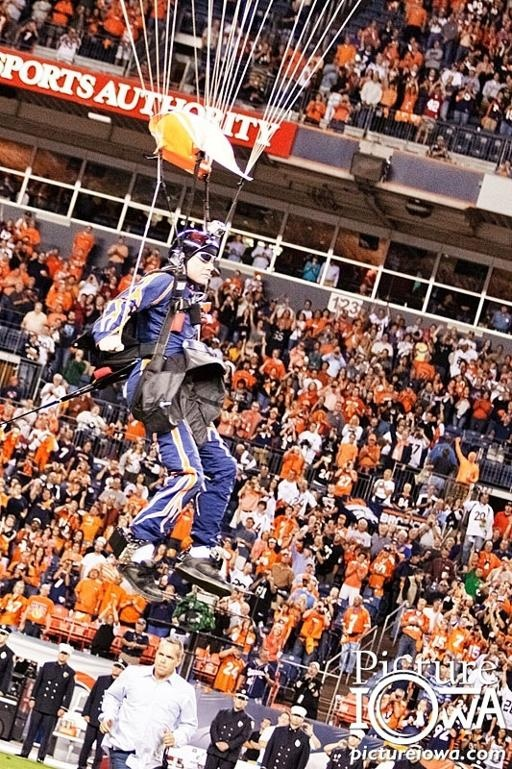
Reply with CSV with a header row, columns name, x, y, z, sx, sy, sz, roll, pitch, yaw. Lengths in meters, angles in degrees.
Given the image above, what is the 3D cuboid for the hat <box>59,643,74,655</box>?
name,x,y,z,sx,sy,sz,roll,pitch,yaw
hat,-2.017,2.779,11.613,0.152,0.114,0.389,15,-16,-6

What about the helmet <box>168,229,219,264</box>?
name,x,y,z,sx,sy,sz,roll,pitch,yaw
helmet,-0.385,-0.840,6.829,0.281,0.239,0.210,15,-17,-6

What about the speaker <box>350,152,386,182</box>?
name,x,y,z,sx,sy,sz,roll,pitch,yaw
speaker,2.058,-4.045,20.417,0.459,0.243,0.393,15,-52,3
